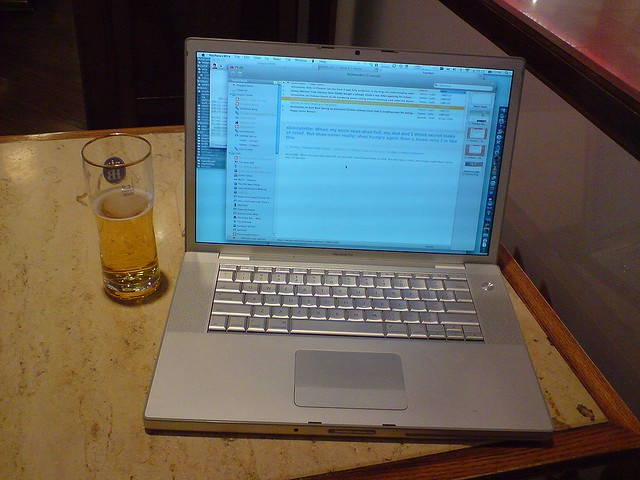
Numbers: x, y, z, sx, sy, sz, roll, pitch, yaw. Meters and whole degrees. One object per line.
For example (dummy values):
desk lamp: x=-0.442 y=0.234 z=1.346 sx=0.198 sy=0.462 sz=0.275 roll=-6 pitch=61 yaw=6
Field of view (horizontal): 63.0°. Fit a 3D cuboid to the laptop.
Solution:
laptop: x=0.045 y=-0.012 z=0.740 sx=0.613 sy=0.353 sz=0.493 roll=-4 pitch=42 yaw=-9
